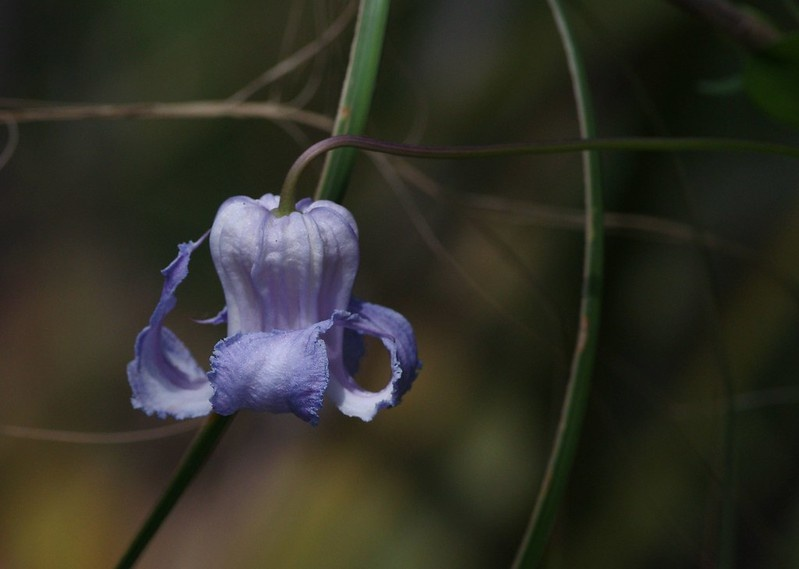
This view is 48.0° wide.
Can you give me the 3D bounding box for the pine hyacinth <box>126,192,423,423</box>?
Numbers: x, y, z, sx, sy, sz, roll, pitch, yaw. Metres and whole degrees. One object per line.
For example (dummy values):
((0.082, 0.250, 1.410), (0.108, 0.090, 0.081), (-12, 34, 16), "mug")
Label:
((-0.178, 0.013, 1.265), (0.314, 0.248, 0.327), (10, 2, 39), "pine hyacinth")
